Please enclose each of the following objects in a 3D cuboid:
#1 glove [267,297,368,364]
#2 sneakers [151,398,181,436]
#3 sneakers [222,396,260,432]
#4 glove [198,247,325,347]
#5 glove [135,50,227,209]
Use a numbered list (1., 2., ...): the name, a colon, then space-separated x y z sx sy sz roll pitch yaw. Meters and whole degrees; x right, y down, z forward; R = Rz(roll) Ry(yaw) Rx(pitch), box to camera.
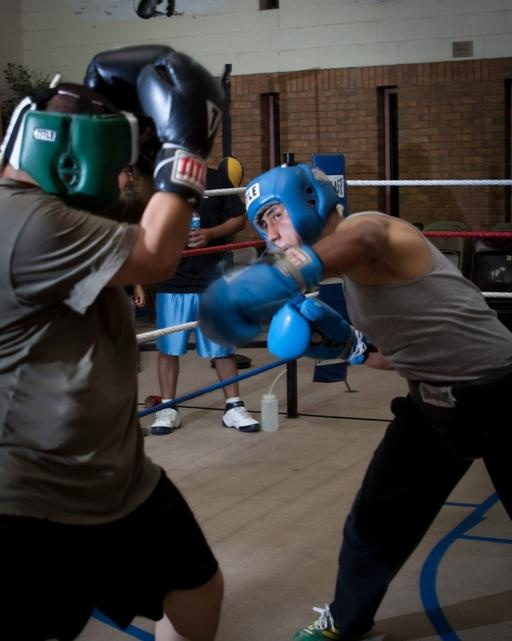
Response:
1. glove: 0.127 0.037 1.185 0.221 0.153 0.090 15 50 -23
2. sneakers: -0.557 0.619 3.477 0.188 0.203 0.490 -1 -2 7
3. sneakers: -0.051 0.612 3.401 0.119 0.148 0.338 -2 5 -40
4. glove: 0.004 -0.034 0.809 0.104 0.085 0.202 28 38 27
5. glove: -0.089 -0.272 0.818 0.168 0.199 0.102 22 12 40
